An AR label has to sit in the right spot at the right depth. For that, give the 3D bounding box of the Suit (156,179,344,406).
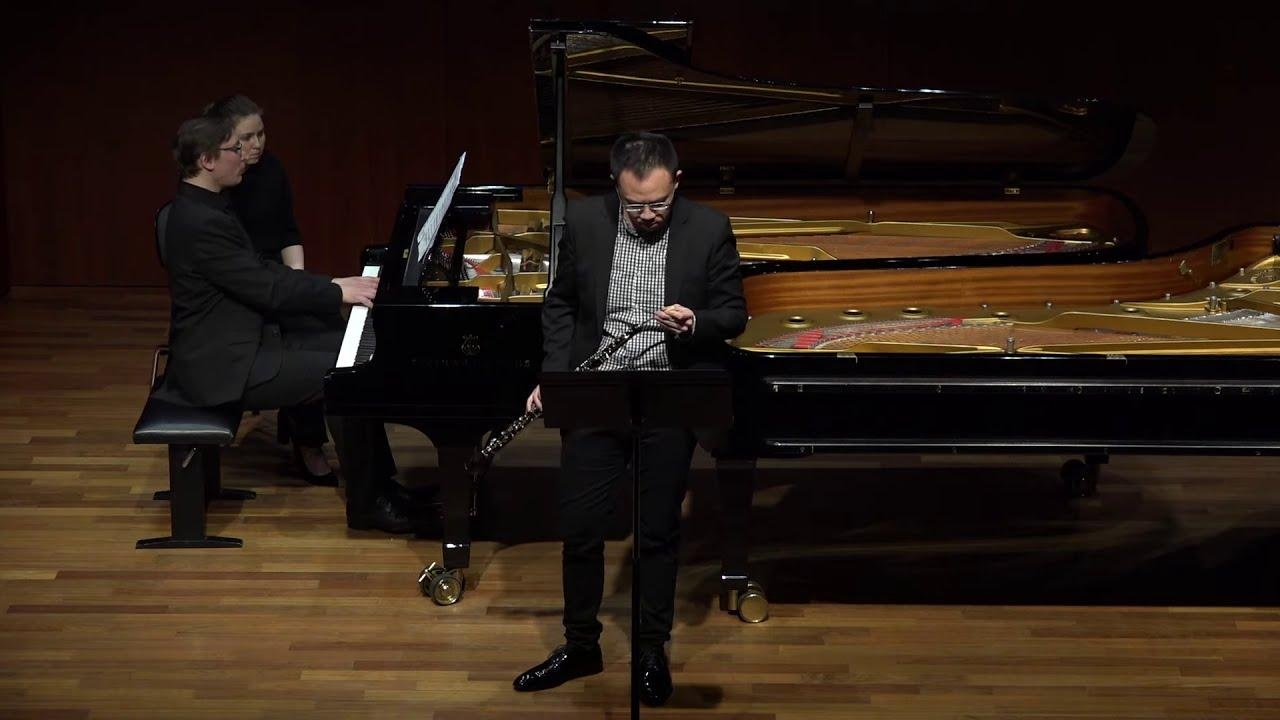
[{"bbox_3d":[-2.041,-0.358,6.192,1.019,1.228,0.820,0,-1,10],"label":"Suit"}]

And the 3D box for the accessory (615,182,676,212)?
[{"bbox_3d":[0.030,-0.725,4.770,0.233,0.067,0.259,-9,43,-6],"label":"accessory"}]

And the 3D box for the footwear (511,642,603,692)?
[{"bbox_3d":[-0.352,1.386,5.000,0.558,0.150,0.162,-6,21,-15],"label":"footwear"}]

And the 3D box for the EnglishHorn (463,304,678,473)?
[{"bbox_3d":[-0.294,0.093,4.834,0.166,1.093,0.141,40,-11,52],"label":"EnglishHorn"}]
